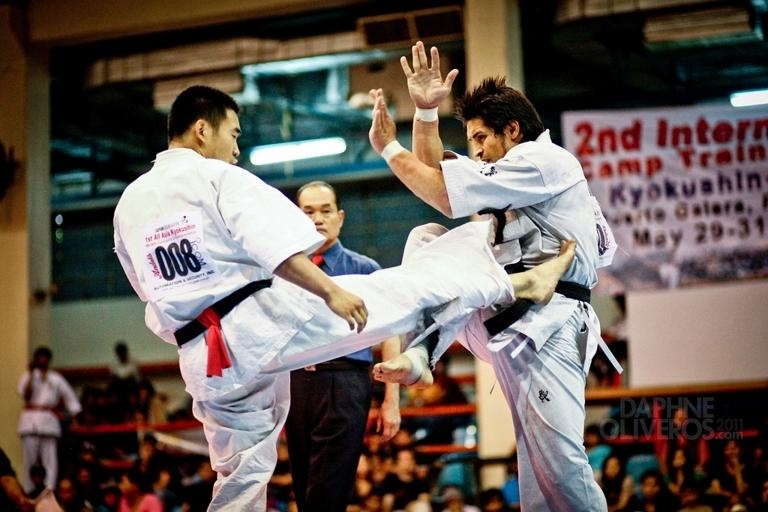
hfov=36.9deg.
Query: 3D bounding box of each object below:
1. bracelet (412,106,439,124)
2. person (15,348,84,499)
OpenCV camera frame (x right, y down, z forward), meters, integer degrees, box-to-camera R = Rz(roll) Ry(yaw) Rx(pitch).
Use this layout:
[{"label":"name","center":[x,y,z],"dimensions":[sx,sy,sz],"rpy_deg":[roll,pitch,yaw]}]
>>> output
[{"label":"bracelet","center":[0.390,-1.253,10.190],"dimensions":[0.161,0.095,0.153],"rpy_deg":[0,1,-23]},{"label":"person","center":[-3.488,1.738,11.713],"dimensions":[0.591,1.230,0.590],"rpy_deg":[-4,3,34]}]
